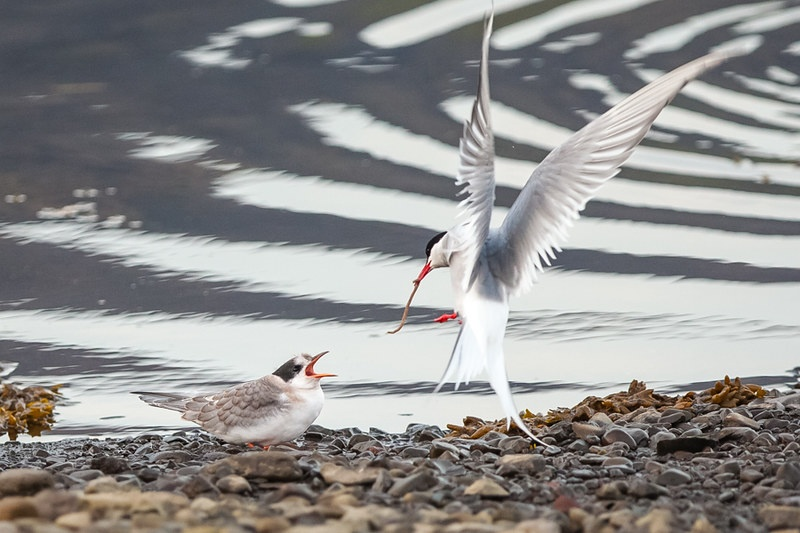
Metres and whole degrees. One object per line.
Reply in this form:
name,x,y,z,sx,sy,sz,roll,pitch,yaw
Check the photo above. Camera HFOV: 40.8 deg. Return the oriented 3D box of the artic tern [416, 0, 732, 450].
artic tern,1.588,-0.216,13.239,2.405,4.559,1.281,9,-2,-5
